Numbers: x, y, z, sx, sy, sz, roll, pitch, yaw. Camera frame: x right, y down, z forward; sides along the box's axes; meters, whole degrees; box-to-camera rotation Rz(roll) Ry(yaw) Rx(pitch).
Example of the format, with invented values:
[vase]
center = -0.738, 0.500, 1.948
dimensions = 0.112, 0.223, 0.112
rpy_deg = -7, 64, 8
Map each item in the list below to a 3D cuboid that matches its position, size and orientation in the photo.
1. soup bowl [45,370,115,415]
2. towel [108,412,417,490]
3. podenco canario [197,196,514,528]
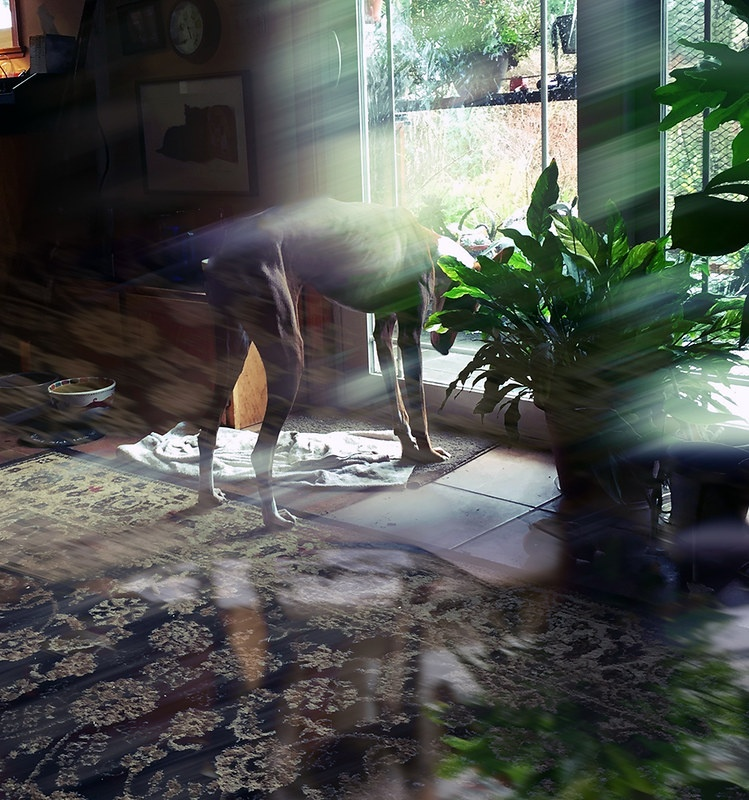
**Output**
[soup bowl]
center = -1.264, -0.028, 3.200
dimensions = 0.242, 0.095, 0.200
rpy_deg = -5, 11, -4
[towel]
center = -0.362, 0.221, 2.908
dimensions = 0.823, 0.066, 0.382
rpy_deg = 3, 12, 9
[podenco canario]
center = -0.074, -0.170, 2.631
dimensions = 0.405, 0.896, 1.399
rpy_deg = 8, 14, 39
